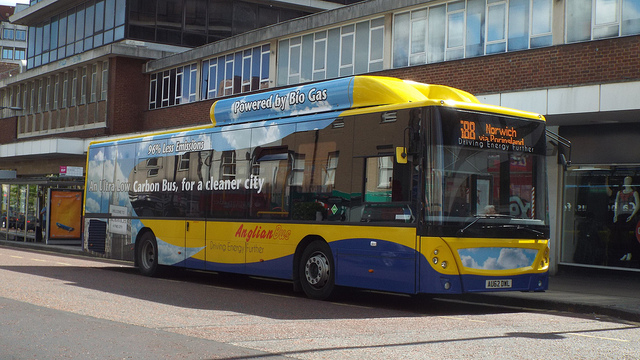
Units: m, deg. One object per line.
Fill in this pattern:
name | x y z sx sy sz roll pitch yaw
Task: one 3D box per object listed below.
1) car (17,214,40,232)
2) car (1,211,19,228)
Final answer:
car | -17.128 2.498 38.824 1.525 0.751 0.841 5 3 41
car | -18.888 2.394 39.770 2.499 0.756 0.671 -7 -9 38
